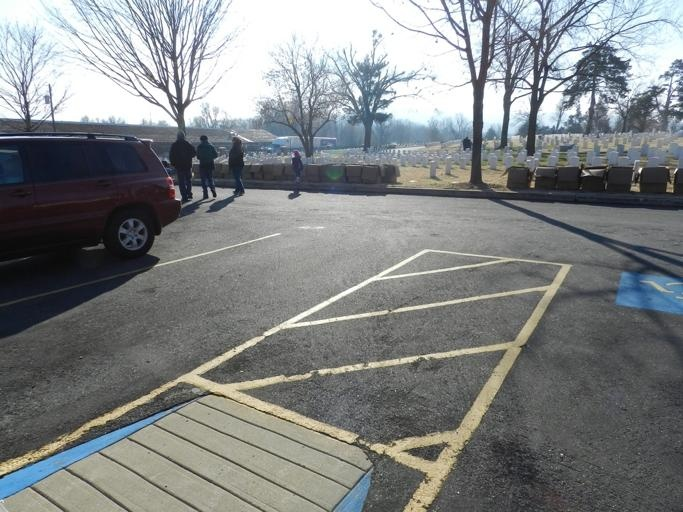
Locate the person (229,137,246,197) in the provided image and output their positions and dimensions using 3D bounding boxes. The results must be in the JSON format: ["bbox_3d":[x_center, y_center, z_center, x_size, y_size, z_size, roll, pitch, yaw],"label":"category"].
[{"bbox_3d":[-3.916,-3.351,17.354,0.511,2.054,1.308,-4,14,-12],"label":"person"}]
